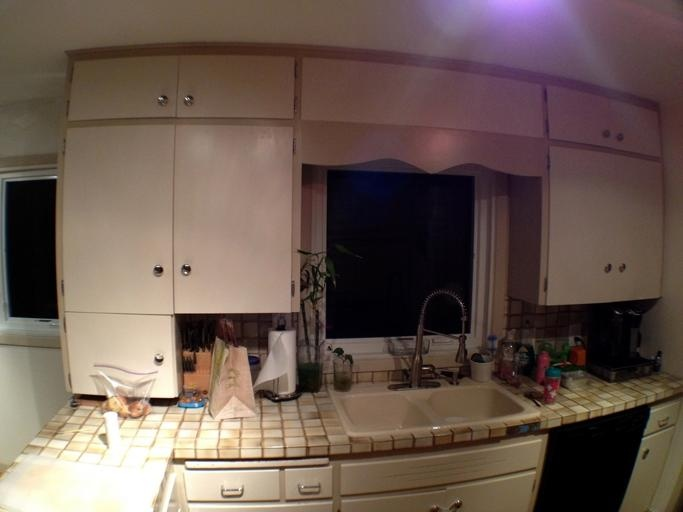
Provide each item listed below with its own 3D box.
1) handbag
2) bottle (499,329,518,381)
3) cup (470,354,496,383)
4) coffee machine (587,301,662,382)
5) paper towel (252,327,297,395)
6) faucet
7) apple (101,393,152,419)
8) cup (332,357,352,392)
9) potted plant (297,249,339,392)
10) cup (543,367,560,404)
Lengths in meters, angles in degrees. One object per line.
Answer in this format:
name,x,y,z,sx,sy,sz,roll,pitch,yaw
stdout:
handbag,-0.625,0.600,2.826,0.306,0.563,0.459,2,-3,-19
bottle,1.034,0.614,3.108,0.084,0.326,0.089,1,10,0
cup,0.905,0.687,3.103,0.211,0.165,0.118,0,1,-22
coffee machine,1.795,0.539,3.195,0.280,0.465,0.237,-3,4,-11
paper towel,-0.347,0.599,2.809,0.260,0.367,0.243,0,-4,-26
faucet,0.595,0.546,3.060,0.342,0.769,0.228,5,29,11
apple,-1.132,0.792,2.617,0.167,0.077,0.131,9,-10,-4
cup,0.012,0.698,2.960,0.103,0.184,0.117,3,6,-4
potted plant,-0.142,0.375,2.898,0.202,0.820,0.392,1,2,-3
cup,1.193,0.740,2.844,0.079,0.200,0.081,2,11,0
